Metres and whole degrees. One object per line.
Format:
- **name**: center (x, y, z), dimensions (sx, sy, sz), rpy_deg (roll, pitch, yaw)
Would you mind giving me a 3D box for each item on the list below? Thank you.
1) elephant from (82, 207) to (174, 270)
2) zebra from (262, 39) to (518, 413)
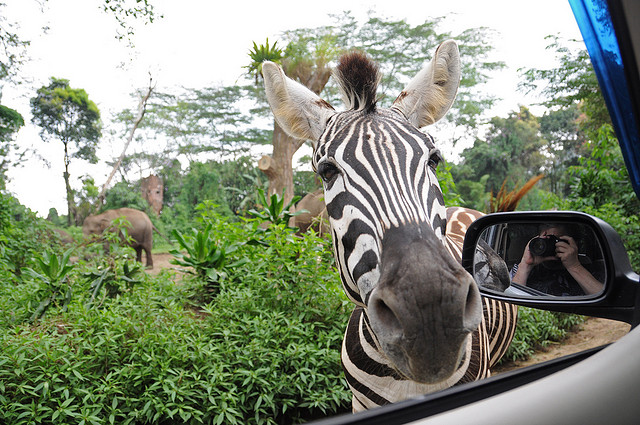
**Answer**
- **elephant**: center (-4.228, 0.515, 11.629), dimensions (2.071, 1.328, 0.969), rpy_deg (10, -18, -24)
- **zebra**: center (0.681, 0.079, 4.881), dimensions (1.729, 3.597, 1.571), rpy_deg (-5, -5, 3)
